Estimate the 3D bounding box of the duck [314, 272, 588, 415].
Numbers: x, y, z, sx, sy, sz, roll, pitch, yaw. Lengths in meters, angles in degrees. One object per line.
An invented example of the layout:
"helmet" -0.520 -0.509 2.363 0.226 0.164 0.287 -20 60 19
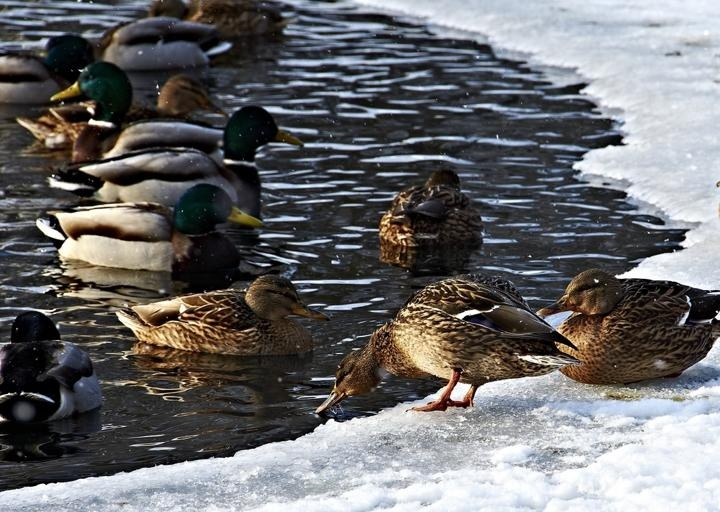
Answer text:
"duck" 0.724 0.747 7.195 1.698 1.170 0.723 8 32 9
